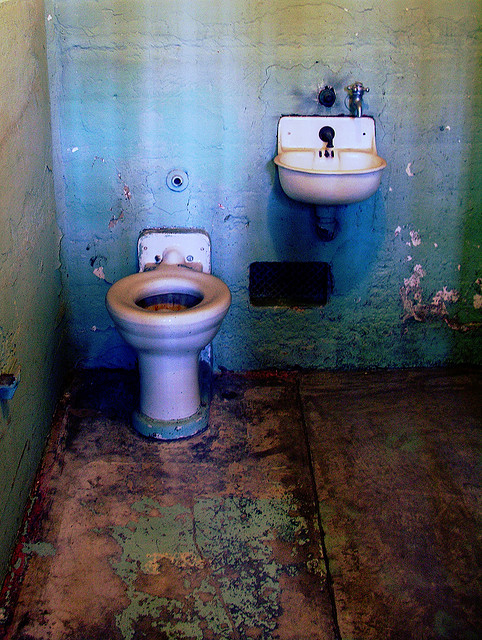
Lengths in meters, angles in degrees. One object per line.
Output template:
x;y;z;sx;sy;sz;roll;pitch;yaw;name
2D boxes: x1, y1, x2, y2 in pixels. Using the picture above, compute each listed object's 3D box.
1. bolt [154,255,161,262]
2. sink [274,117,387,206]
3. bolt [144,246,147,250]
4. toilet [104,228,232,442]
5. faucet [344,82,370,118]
-0.293;-0.219;1.871;0.018;0.023;0.015;-12;-17;11;bolt
0.285;-0.493;1.738;0.340;0.346;0.461;0;22;1;sink
-0.336;-0.255;1.863;0.008;0.011;0.002;0;1;-7;bolt
-0.224;0.053;1.712;0.268;0.583;0.415;0;26;-5;toilet
0.383;-0.724;1.741;0.080;0.107;0.068;5;24;12;faucet
